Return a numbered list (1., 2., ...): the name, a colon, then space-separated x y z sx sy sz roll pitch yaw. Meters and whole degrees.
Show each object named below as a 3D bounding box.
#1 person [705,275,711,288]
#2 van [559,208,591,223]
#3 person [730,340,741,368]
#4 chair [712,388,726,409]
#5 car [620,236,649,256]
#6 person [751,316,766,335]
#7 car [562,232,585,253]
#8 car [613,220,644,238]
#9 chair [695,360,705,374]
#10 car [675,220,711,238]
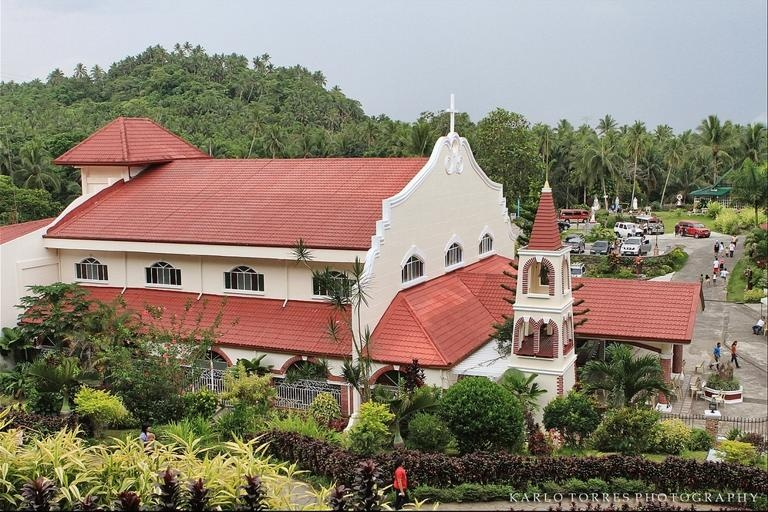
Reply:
1. person: 24.741 1.851 63.050 0.433 0.866 1.014 -1 -3 22
2. van: 21.041 -4.507 90.414 2.772 1.259 1.712 -1 10 11
3. person: 19.688 5.444 46.233 0.456 1.471 2.470 -1 -3 23
4. chair: 16.516 7.028 40.754 0.735 0.999 0.758 -1 0 17
5. car: 21.606 -0.788 70.808 1.392 0.893 2.623 8 26 23
6. person: 23.673 4.370 52.034 0.715 1.260 0.474 8 -14 7
7. car: 15.590 -1.113 67.404 1.059 0.957 2.390 6 20 21
8. car: 23.129 -2.608 78.355 1.452 1.401 2.624 -6 5 -32
9. chair: 17.257 5.996 45.020 0.543 0.747 0.491 -2 8 1
10. car: 30.279 -2.673 80.998 1.383 0.988 3.085 -3 6 -17
